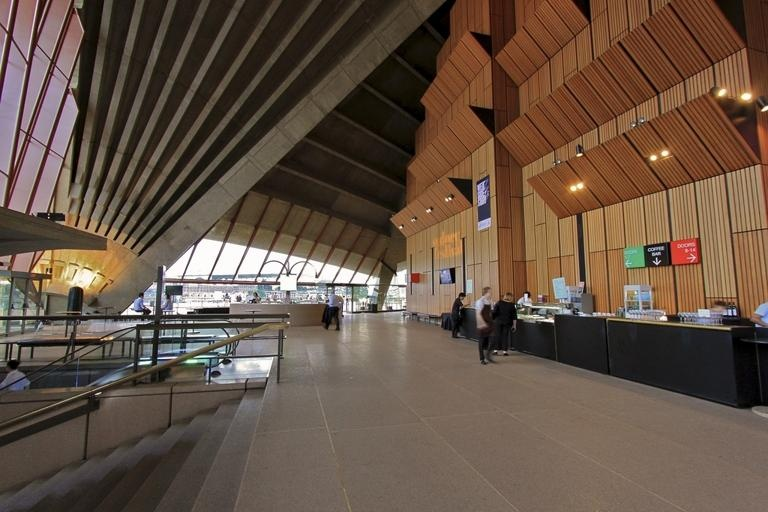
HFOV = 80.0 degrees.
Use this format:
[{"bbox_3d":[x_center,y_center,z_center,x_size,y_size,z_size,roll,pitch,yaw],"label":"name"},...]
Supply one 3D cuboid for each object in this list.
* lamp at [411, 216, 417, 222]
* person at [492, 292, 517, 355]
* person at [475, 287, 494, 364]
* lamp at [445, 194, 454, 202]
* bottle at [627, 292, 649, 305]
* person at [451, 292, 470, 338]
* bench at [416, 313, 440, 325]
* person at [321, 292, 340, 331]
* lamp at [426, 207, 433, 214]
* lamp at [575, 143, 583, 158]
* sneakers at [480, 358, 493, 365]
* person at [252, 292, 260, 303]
[{"bbox_3d":[1.333,-1.654,20.194,0.205,0.221,0.389,0,8,-9],"label":"lamp"},{"bbox_3d":[3.016,1.706,11.400,0.578,1.521,0.917,-3,-10,15],"label":"person"},{"bbox_3d":[2.352,1.593,10.646,0.347,1.801,0.812,-2,-9,12],"label":"person"},{"bbox_3d":[2.409,-2.150,16.889,0.219,0.229,0.399,21,-15,-28],"label":"lamp"},{"bbox_3d":[6.293,1.151,11.347,0.242,0.327,0.455,7,-15,-14],"label":"bottle"},{"bbox_3d":[2.308,1.842,14.085,0.386,1.342,0.874,0,-9,0],"label":"person"},{"bbox_3d":[1.875,2.668,19.569,0.543,0.564,2.873,1,-10,-6],"label":"bench"},{"bbox_3d":[-1.916,2.030,16.687,0.629,1.312,1.373,1,-9,-7],"label":"person"},{"bbox_3d":[1.867,-1.866,18.573,0.287,0.197,0.206,7,15,33],"label":"lamp"},{"bbox_3d":[5.010,-2.741,11.737,0.183,0.377,0.377,-4,-10,22],"label":"lamp"},{"bbox_3d":[2.318,2.408,10.350,0.251,0.127,0.369,2,-2,-8],"label":"sneakers"},{"bbox_3d":[-5.200,1.702,18.688,0.278,0.567,1.706,2,-10,-14],"label":"person"}]
